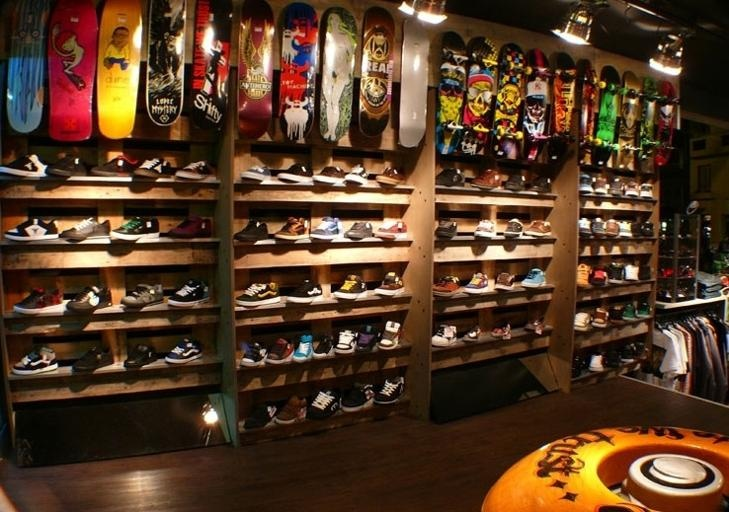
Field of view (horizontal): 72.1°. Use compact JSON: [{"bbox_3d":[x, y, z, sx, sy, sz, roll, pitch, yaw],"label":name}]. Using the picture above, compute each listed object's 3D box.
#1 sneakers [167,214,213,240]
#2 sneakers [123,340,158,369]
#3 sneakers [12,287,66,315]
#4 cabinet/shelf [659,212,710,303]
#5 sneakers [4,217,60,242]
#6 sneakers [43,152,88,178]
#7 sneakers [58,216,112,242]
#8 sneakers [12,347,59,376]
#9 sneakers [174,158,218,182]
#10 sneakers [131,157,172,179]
[{"bbox_3d":[-1.550,-0.240,4.498,0.440,0.192,0.169,-3,10,-41],"label":"sneakers"},{"bbox_3d":[-1.967,0.891,4.482,0.141,0.151,0.344,4,-1,17],"label":"sneakers"},{"bbox_3d":[-2.693,0.373,4.187,0.419,0.187,0.189,2,1,-42],"label":"sneakers"},{"bbox_3d":[4.085,0.024,6.527,0.390,1.115,0.525,-1,7,4],"label":"cabinet/shelf"},{"bbox_3d":[-2.706,-0.208,4.129,0.492,0.208,0.175,1,3,-20],"label":"sneakers"},{"bbox_3d":[-2.489,-0.755,4.191,0.167,0.144,0.325,8,6,41],"label":"sneakers"},{"bbox_3d":[-2.421,-0.212,4.236,0.482,0.198,0.171,-4,7,-37],"label":"sneakers"},{"bbox_3d":[-2.813,0.880,4.283,0.322,0.191,0.297,-3,13,-31],"label":"sneakers"},{"bbox_3d":[-1.477,-0.760,4.486,0.168,0.166,0.435,6,5,43],"label":"sneakers"},{"bbox_3d":[-1.846,-0.754,4.323,0.128,0.146,0.357,6,6,33],"label":"sneakers"}]
